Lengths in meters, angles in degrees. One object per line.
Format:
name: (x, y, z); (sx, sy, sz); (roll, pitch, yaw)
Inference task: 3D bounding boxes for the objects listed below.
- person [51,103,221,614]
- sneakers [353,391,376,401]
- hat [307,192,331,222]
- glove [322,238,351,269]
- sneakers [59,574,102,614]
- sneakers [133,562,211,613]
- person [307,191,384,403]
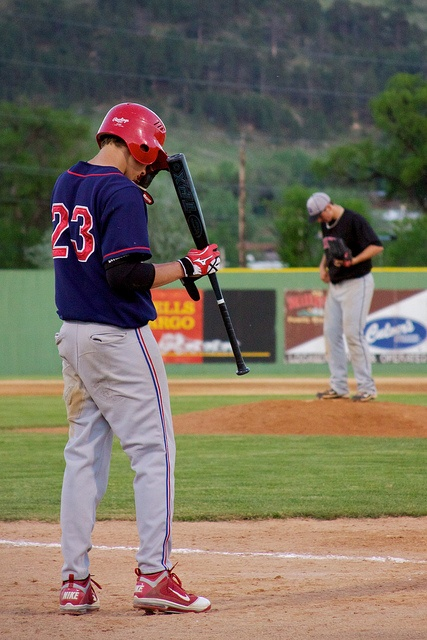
person: (-0.399, 0.144, 5.798); (0.652, 2.267, 0.541); (-3, 3, -1)
sneakers: (1.206, 0.597, 10.331); (0.192, 0.094, 0.072); (2, -3, -8)
hat: (0.885, -0.932, 10.288); (0.155, 0.241, 0.139); (-3, -39, 50)
glove: (0.983, -0.553, 10.106); (0.213, 0.233, 0.377); (-3, 3, 5)
sneakers: (-0.595, 1.201, 5.637); (0.097, 0.104, 0.224); (-1, -2, 12)
sneakers: (-0.212, 1.213, 5.743); (0.397, 0.255, 0.150); (4, -10, -18)
person: (1.068, -0.184, 10.305); (0.524, 1.712, 0.792); (-3, 4, -9)
